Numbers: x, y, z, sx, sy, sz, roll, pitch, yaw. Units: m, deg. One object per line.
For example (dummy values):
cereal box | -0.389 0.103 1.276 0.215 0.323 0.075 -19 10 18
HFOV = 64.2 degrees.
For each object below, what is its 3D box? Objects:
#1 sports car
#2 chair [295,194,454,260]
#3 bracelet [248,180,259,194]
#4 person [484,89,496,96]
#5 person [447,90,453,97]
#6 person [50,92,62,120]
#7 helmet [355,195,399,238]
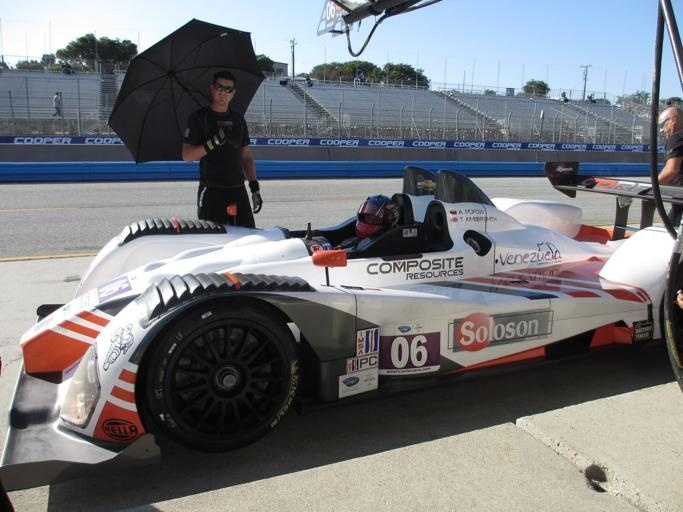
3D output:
sports car | 0.254 0.282 3.710 3.687 1.098 2.094 -4 11 -20
chair | 0.256 -0.184 4.043 0.882 0.381 0.518 -5 9 -20
bracelet | -0.879 -0.698 5.488 0.105 0.126 0.122 11 -24 -42
person | 10.448 -11.411 38.302 0.723 0.416 2.208 3 12 17
person | 7.379 -10.913 36.646 0.363 0.421 1.516 1 12 10
person | -9.952 -5.262 19.090 0.320 0.930 1.173 -7 13 -27
helmet | 0.254 -0.326 4.237 0.332 0.291 0.294 -7 15 -39
